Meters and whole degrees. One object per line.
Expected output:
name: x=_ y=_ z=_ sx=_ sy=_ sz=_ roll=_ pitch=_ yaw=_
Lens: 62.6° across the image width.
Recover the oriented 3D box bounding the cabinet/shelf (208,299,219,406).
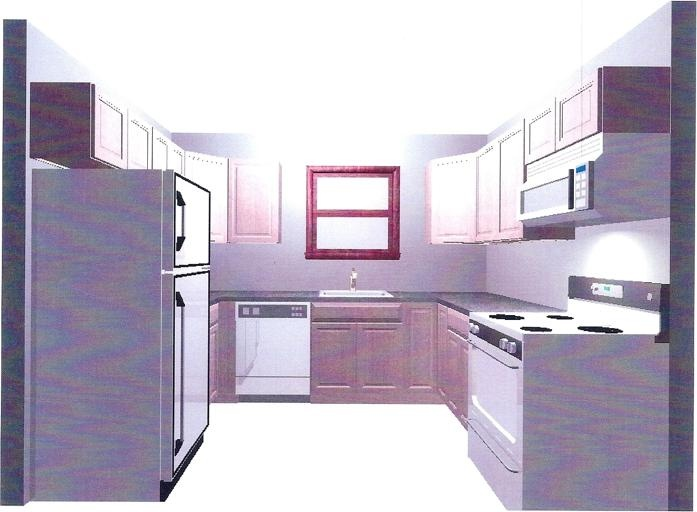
cabinet/shelf: x=-1.160 y=0.832 z=4.916 sx=0.080 sy=0.863 sz=0.279 roll=1 pitch=-1 yaw=-13

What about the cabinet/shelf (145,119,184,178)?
cabinet/shelf: x=-1.486 y=-0.834 z=4.712 sx=0.137 sy=0.228 sz=0.578 roll=1 pitch=-1 yaw=-3

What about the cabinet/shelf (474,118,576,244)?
cabinet/shelf: x=1.309 y=-0.677 z=4.858 sx=1.151 sy=1.013 sz=0.414 roll=-15 pitch=28 yaw=-30

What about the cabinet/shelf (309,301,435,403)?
cabinet/shelf: x=0.192 y=0.830 z=5.404 sx=1.434 sy=1.246 sz=0.750 roll=0 pitch=-4 yaw=1

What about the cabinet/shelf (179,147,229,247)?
cabinet/shelf: x=-1.360 y=-0.568 z=5.388 sx=0.434 sy=0.919 sz=0.519 roll=-7 pitch=14 yaw=-14

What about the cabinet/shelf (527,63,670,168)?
cabinet/shelf: x=1.887 y=-1.075 z=4.248 sx=0.410 sy=0.464 sz=1.272 roll=0 pitch=7 yaw=9
